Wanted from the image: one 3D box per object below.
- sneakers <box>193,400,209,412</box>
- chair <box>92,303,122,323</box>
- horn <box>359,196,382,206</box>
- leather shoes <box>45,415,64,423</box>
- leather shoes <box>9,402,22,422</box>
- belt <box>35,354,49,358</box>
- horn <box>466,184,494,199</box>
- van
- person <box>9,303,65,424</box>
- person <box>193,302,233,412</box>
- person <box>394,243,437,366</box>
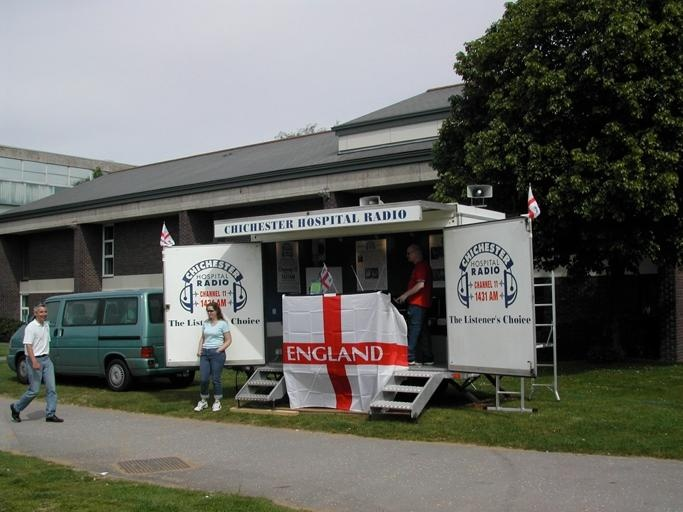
[{"bbox_3d":[-2.886,3.027,16.318,0.276,0.225,0.364,0,4,10],"label":"sneakers"},{"bbox_3d":[-5.552,1.361,18.897,0.758,0.612,0.427,0,-2,33],"label":"chair"},{"bbox_3d":[0.580,-1.091,15.570,0.373,0.215,1.066,-1,3,3],"label":"horn"},{"bbox_3d":[-5.575,3.154,15.463,0.354,0.176,0.137,1,-2,-10],"label":"leather shoes"},{"bbox_3d":[-6.364,3.048,15.525,0.140,0.375,0.114,-10,2,8],"label":"leather shoes"},{"bbox_3d":[-5.817,1.919,15.448,0.063,0.065,0.252,1,4,28],"label":"belt"},{"bbox_3d":[2.793,-1.316,15.936,0.486,0.244,0.276,1,4,24],"label":"horn"},{"bbox_3d":[-5.712,1.885,19.898,4.139,2.269,2.427,0,-5,30],"label":"van"},{"bbox_3d":[-6.001,2.090,15.569,0.916,2.326,1.018,-3,4,-25],"label":"person"},{"bbox_3d":[-2.638,2.051,16.378,0.767,2.180,0.790,-1,4,-11],"label":"person"},{"bbox_3d":[1.570,1.012,16.306,0.639,2.549,1.456,0,4,6],"label":"person"}]
